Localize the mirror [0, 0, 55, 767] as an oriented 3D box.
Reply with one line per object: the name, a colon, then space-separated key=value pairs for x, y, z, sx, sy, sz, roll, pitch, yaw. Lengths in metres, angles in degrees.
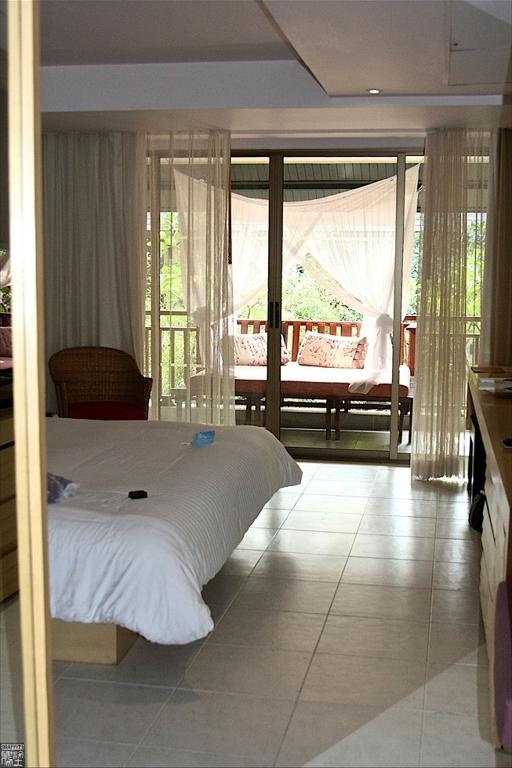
mirror: x=-0.404 y=0.018 z=1.050 sx=0.073 sy=1.372 sz=0.103 roll=0 pitch=2 yaw=-21

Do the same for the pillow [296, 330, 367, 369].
pillow: x=0.685 y=-0.298 z=5.272 sx=0.508 sy=0.355 sz=0.147 roll=5 pitch=-6 yaw=6

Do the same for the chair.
chair: x=-1.202 y=-0.036 z=4.638 sx=0.650 sy=0.922 sz=0.647 roll=0 pitch=1 yaw=-22
